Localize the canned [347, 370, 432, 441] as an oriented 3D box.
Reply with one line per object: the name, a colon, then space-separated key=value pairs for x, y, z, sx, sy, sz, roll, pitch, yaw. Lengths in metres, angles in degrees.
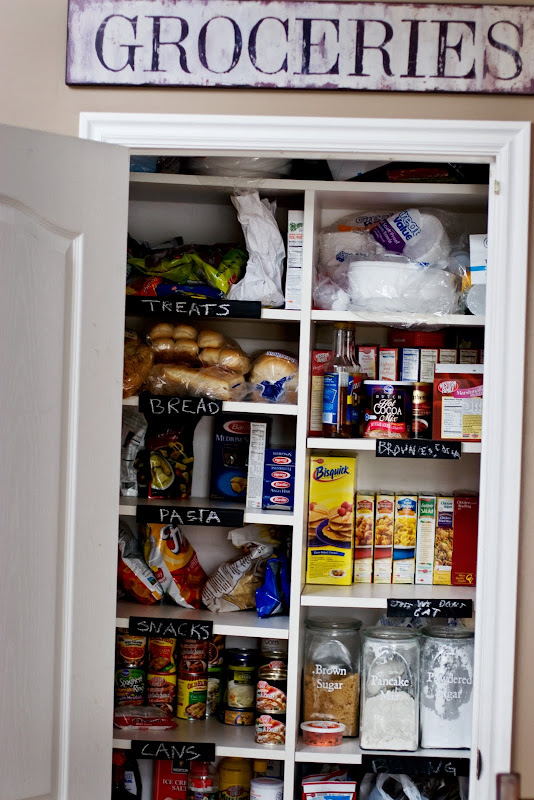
canned: x=0.296 y=0.028 z=1.975 sx=0.162 sy=0.112 sz=0.125 roll=1 pitch=-2 yaw=5
